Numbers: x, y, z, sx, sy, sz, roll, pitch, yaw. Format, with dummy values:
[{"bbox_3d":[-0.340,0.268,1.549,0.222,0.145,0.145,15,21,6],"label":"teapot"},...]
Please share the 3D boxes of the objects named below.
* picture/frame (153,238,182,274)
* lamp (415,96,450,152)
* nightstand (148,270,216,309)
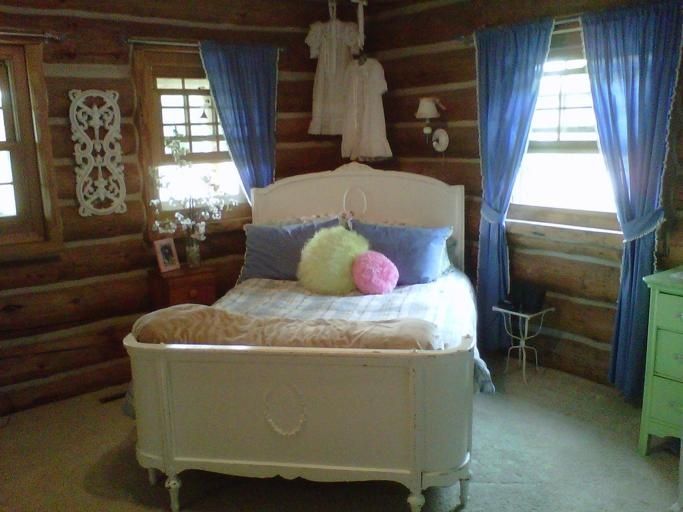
[{"bbox_3d":[-1.440,0.002,4.765,0.030,0.304,0.220,-11,7,41],"label":"picture/frame"},{"bbox_3d":[0.731,-1.152,5.158,0.285,0.486,0.368,-9,15,-27],"label":"lamp"},{"bbox_3d":[-1.276,0.233,4.706,0.310,0.440,0.447,8,15,44],"label":"nightstand"}]
